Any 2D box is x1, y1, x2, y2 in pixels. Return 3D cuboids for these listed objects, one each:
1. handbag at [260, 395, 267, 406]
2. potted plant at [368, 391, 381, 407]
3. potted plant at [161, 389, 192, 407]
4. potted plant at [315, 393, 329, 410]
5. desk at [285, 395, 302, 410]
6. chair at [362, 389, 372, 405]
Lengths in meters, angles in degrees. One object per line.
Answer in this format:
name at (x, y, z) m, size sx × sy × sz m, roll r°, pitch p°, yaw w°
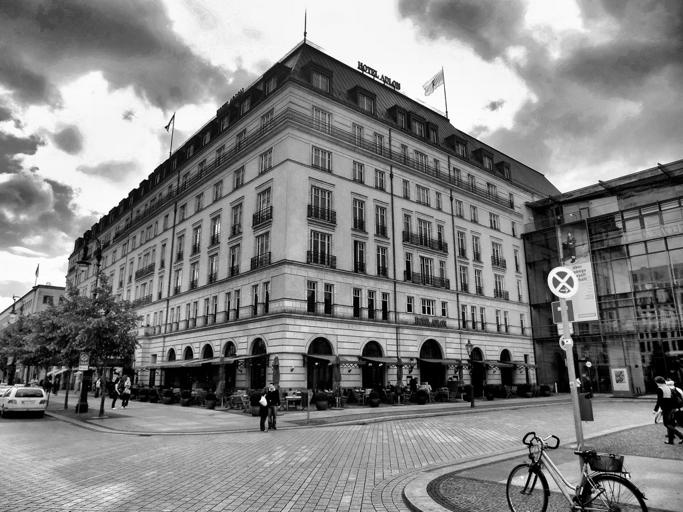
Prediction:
handbag at (-3.654, 6.877, 24.068) m, size 0.302 × 0.605 × 0.402 m, roll -10°, pitch -14°, yaw 19°
potted plant at (2.368, 10.091, 35.803) m, size 0.664 × 1.072 × 0.857 m, roll 0°, pitch -17°, yaw -4°
potted plant at (-12.661, 10.916, 38.868) m, size 1.887 × 0.867 × 2.446 m, roll 7°, pitch -20°, yaw -19°
potted plant at (-1.281, 9.567, 33.068) m, size 0.944 × 1.152 × 1.009 m, roll 1°, pitch -23°, yaw -5°
desk at (-3.141, 9.800, 34.291) m, size 1.454 × 0.768 × 1.175 m, roll 2°, pitch -32°, yaw -6°
chair at (1.895, 10.410, 37.434) m, size 0.995 × 1.054 × 1.013 m, roll 0°, pitch -21°, yaw 3°
